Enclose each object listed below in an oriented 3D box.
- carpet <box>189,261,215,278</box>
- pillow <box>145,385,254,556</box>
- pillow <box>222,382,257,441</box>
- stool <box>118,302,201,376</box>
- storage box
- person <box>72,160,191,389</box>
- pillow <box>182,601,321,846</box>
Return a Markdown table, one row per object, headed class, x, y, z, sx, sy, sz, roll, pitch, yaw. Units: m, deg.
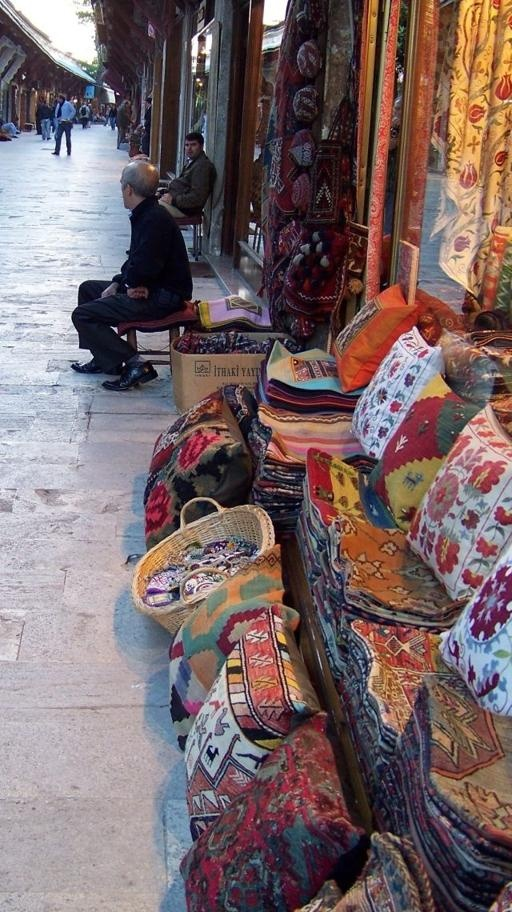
| class | x | y | z | sx | sy | sz | roll | pitch | yaw |
| --- | --- | --- | --- | --- | --- | --- | --- | --- | --- |
| carpet | -0.713 | -2.395 | 8.095 | 0.295 | 0.174 | 1.044 | 3 | 18 | -8 |
| pillow | -0.218 | 0.070 | 2.475 | 0.300 | 0.261 | 0.698 | -16 | 23 | 12 |
| pillow | -0.077 | -0.203 | 2.787 | 0.097 | 0.133 | 0.334 | -2 | 36 | -7 |
| stool | -0.694 | -0.814 | 4.333 | 0.451 | 0.544 | 0.464 | -25 | 36 | -19 |
| storage box | -0.240 | -0.579 | 3.739 | 0.463 | 0.378 | 0.693 | 0 | 22 | -3 |
| person | -0.923 | -1.295 | 4.505 | 0.880 | 1.582 | 0.590 | 5 | 17 | 0 |
| pillow | -0.008 | 0.496 | 1.161 | 0.164 | 0.361 | 0.398 | 27 | 22 | -10 |
